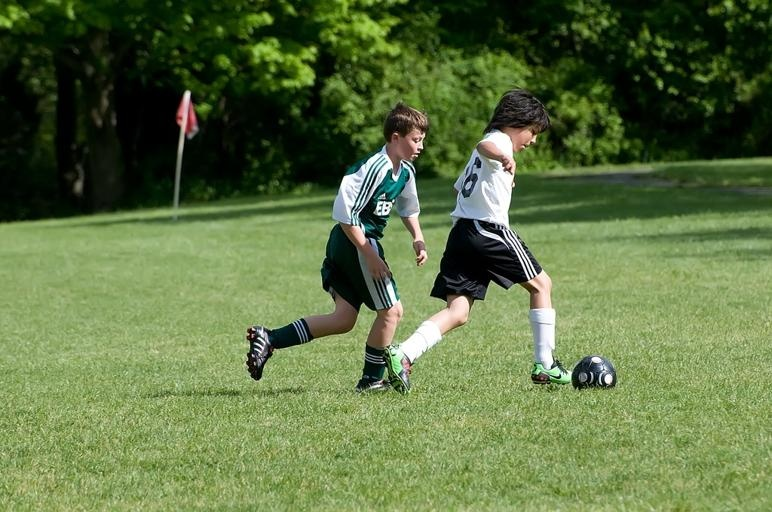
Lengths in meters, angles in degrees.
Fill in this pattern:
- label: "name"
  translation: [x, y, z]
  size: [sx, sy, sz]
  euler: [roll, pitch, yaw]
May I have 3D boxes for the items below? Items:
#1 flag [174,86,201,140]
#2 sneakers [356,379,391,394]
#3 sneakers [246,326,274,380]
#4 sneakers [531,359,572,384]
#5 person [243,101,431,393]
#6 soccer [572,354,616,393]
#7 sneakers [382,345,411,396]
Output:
- label: "flag"
  translation: [-2.394, -1.694, 12.970]
  size: [0.266, 0.664, 0.218]
  euler: [-1, -23, -2]
- label: "sneakers"
  translation: [-0.102, 1.017, 8.478]
  size: [0.260, 0.120, 0.103]
  euler: [-5, 2, 1]
- label: "sneakers"
  translation: [-1.008, 0.756, 8.455]
  size: [0.203, 0.442, 0.168]
  euler: [0, -2, -37]
- label: "sneakers"
  translation: [1.302, 0.930, 8.569]
  size: [0.374, 0.194, 0.135]
  euler: [0, 2, -13]
- label: "person"
  translation: [-0.248, -0.099, 8.543]
  size: [1.331, 2.298, 0.877]
  euler: [-7, -16, 29]
- label: "soccer"
  translation: [1.622, 0.917, 8.362]
  size: [0.282, 0.285, 0.270]
  euler: [1, -2, -3]
- label: "sneakers"
  translation: [0.092, 0.901, 8.447]
  size: [0.211, 0.372, 0.257]
  euler: [1, -14, 0]
